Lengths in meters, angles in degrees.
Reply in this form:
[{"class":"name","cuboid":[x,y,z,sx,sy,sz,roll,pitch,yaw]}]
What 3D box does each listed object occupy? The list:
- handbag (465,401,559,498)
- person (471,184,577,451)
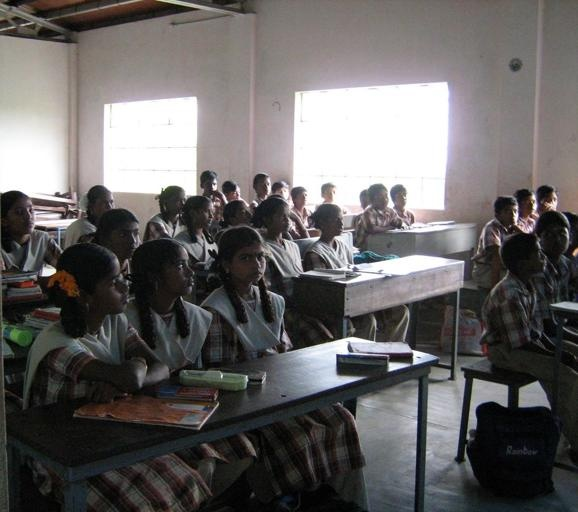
[{"class":"handbag","cuboid":[1.027,0.871,2.283,0.371,0.362,0.370,1,0,6]},{"class":"person","cuboid":[1.420,0.301,2.654,0.625,1.107,0.540,3,4,42]}]
